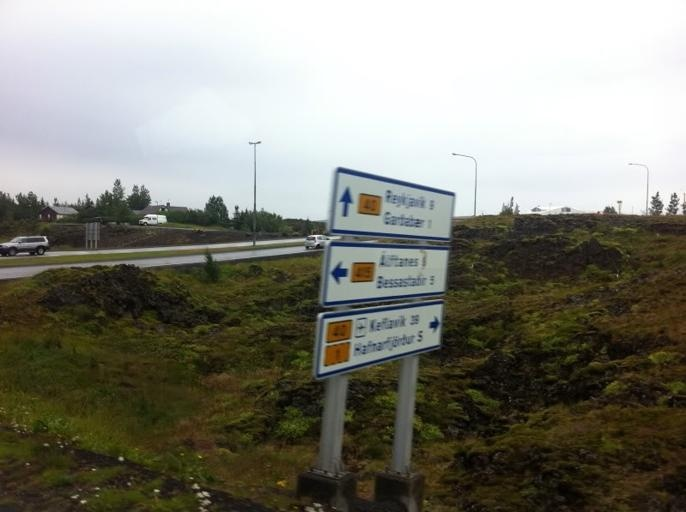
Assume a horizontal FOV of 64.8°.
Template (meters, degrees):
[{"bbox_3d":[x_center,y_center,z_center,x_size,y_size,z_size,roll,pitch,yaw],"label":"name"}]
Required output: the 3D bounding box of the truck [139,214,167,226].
[{"bbox_3d":[-25.324,-4.869,73.140,1.858,1.248,3.471,2,1,43],"label":"truck"}]
